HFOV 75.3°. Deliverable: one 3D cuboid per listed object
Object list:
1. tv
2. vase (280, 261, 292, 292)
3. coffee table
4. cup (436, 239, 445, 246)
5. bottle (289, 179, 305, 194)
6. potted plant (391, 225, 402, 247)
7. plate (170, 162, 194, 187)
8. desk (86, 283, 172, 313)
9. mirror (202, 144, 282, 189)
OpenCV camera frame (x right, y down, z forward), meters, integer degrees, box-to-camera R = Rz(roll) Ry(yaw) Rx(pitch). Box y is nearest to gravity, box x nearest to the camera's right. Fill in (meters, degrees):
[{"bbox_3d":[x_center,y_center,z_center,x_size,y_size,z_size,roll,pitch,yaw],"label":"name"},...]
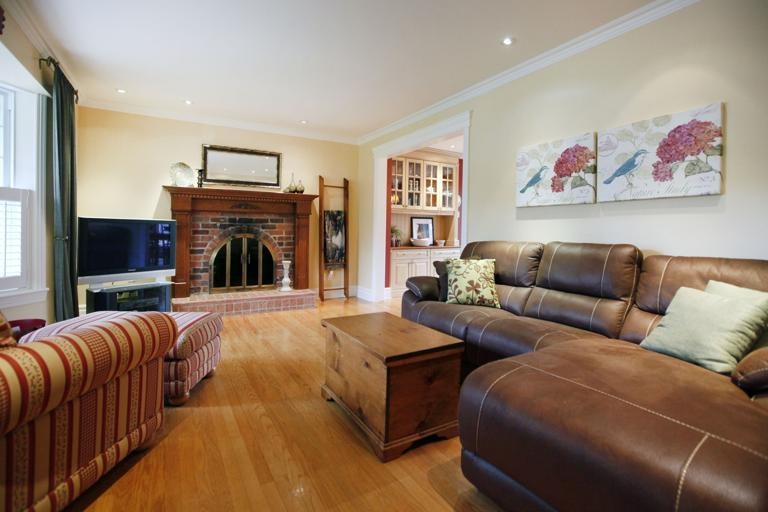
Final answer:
[{"bbox_3d":[-2.776,-0.057,5.403,0.103,0.748,1.041,8,8,35],"label":"tv"},{"bbox_3d":[-1.422,0.272,7.244,0.171,0.420,0.258,0,6,-11],"label":"vase"},{"bbox_3d":[0.037,0.984,4.139,0.737,0.768,1.281,-3,7,-30],"label":"coffee table"},{"bbox_3d":[1.015,-0.247,8.819,0.113,0.072,0.114,0,-2,0],"label":"cup"},{"bbox_3d":[-1.302,-1.038,7.357,0.240,0.215,0.417,0,6,-9],"label":"bottle"},{"bbox_3d":[0.203,-0.350,8.287,0.157,0.341,0.397,1,5,1],"label":"potted plant"},{"bbox_3d":[-2.711,-1.120,6.710,0.335,0.326,0.159,-1,6,-24],"label":"plate"},{"bbox_3d":[-2.713,0.465,5.334,0.819,0.329,0.204,-4,8,-44],"label":"desk"},{"bbox_3d":[-2.030,-1.287,7.102,1.077,0.536,0.058,-2,6,-26],"label":"mirror"}]
